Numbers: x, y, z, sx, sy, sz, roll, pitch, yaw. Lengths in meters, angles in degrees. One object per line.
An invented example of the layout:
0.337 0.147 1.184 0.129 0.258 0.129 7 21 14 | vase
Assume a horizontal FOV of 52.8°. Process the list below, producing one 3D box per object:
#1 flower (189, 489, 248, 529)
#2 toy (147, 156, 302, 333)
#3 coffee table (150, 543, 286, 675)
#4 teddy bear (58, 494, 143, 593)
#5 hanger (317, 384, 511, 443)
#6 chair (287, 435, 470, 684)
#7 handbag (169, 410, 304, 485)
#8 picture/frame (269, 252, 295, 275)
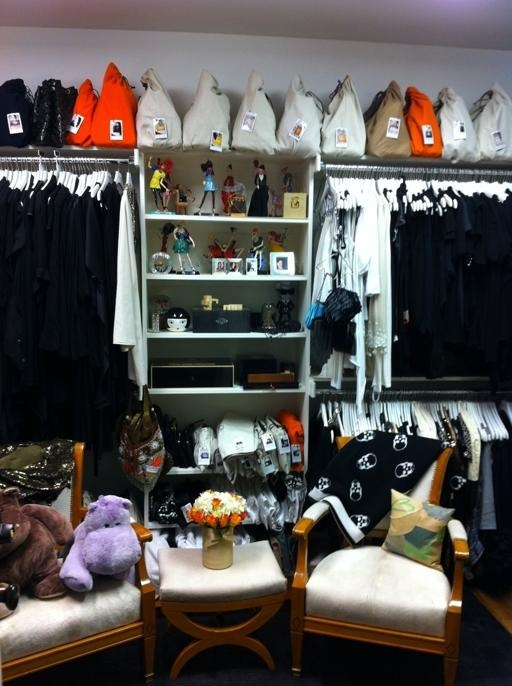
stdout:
-0.137 0.635 1.969 0.185 0.100 0.199 2 3 32 | flower
-0.177 -0.526 2.610 0.749 0.801 0.239 -1 6 -8 | toy
-0.136 0.908 1.996 0.414 0.357 0.371 0 10 -6 | coffee table
-0.510 0.666 1.716 0.182 0.218 0.319 9 -1 -13 | teddy bear
0.833 0.377 2.649 0.537 0.247 0.416 -1 16 -2 | hanger
0.413 0.769 2.033 0.539 0.855 0.573 1 -1 16 | chair
-0.027 0.514 2.585 0.461 0.225 0.371 0 7 -10 | handbag
0.128 -0.394 2.559 0.122 0.121 0.102 0 2 2 | picture/frame
